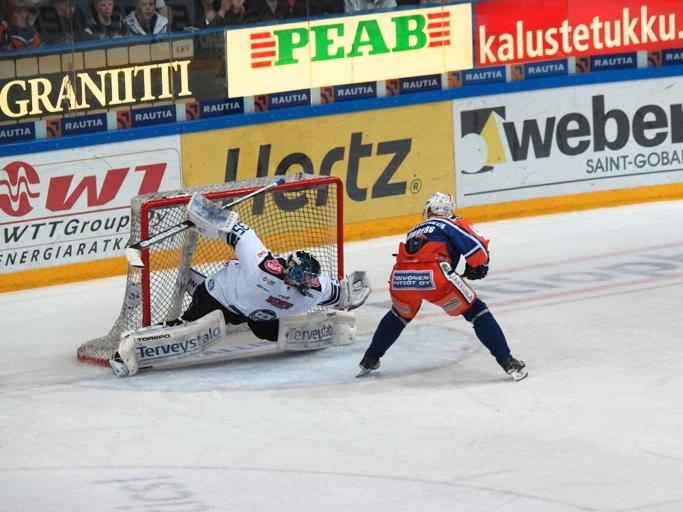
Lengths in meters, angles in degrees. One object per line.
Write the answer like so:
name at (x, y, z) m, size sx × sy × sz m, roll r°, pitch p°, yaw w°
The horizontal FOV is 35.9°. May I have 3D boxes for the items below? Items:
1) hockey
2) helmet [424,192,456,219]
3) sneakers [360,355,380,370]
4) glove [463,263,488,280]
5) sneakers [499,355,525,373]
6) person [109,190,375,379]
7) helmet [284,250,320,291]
hockey at (-1.064, -0.235, 8.585) m, size 1.718 × 0.061 × 0.323 m, roll -24°, pitch 45°, yaw -24°
helmet at (0.721, -0.368, 7.760) m, size 0.187 × 0.207 × 0.220 m, roll 0°, pitch -15°, yaw 2°
sneakers at (0.204, 0.774, 7.672) m, size 0.145 × 0.128 × 0.086 m, roll -2°, pitch 35°, yaw -14°
glove at (0.960, 0.112, 7.516) m, size 0.133 × 0.051 × 0.122 m, roll -1°, pitch -17°, yaw 1°
sneakers at (1.205, 0.762, 7.420) m, size 0.164 × 0.147 × 0.126 m, roll -4°, pitch 7°, yaw 9°
person at (-0.873, 0.270, 8.072) m, size 1.787 × 1.040 × 1.462 m, roll -18°, pitch 41°, yaw -34°
helmet at (-0.291, 0.111, 7.619) m, size 0.311 × 0.277 × 0.236 m, roll 7°, pitch 7°, yaw -6°
